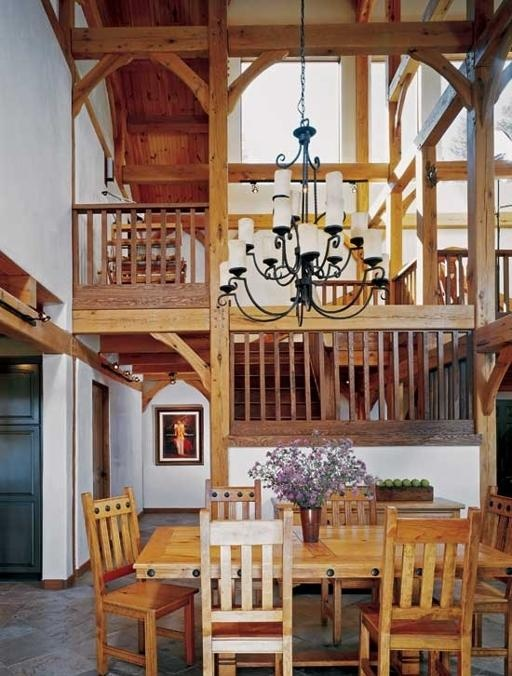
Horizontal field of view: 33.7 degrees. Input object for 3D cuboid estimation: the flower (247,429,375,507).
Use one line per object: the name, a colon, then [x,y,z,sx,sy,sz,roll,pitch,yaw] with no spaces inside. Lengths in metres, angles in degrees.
flower: [0.340,0.758,4.986,0.619,0.491,0.669,-3,-1,9]

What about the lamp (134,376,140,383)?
lamp: [-1.734,0.596,12.129,0.091,0.075,0.032,9,-23,-35]

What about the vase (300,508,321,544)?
vase: [0.304,1.061,4.747,0.148,0.231,0.164,-1,-7,1]

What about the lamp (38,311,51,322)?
lamp: [-1.609,-0.159,6.302,0.065,0.046,0.106,1,-9,-29]

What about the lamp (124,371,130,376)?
lamp: [-1.624,0.447,10.462,0.043,0.064,0.140,0,-7,-9]

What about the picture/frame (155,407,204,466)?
picture/frame: [-1.232,1.616,13.439,0.764,1.021,0.068,0,-12,1]
